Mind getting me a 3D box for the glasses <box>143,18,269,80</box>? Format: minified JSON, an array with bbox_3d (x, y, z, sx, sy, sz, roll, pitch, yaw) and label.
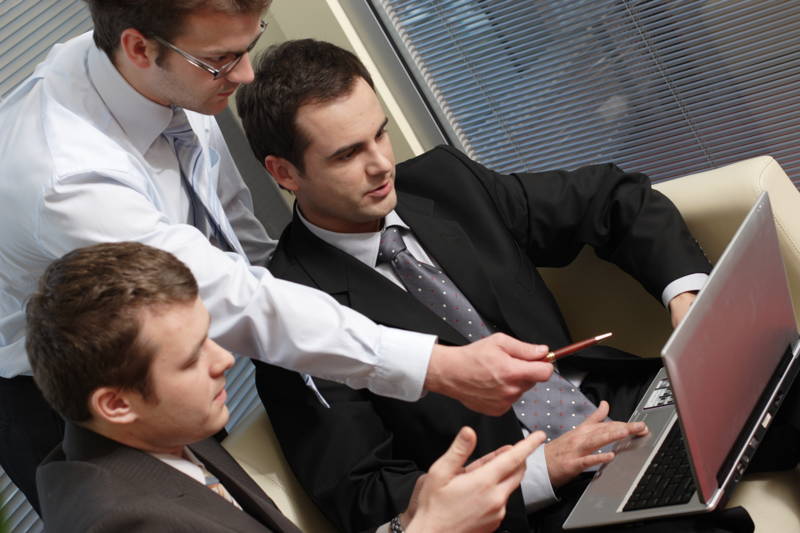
[{"bbox_3d":[-0.512,-0.520,1.775,0.180,0.177,0.049,-54,-5,-31],"label":"glasses"}]
